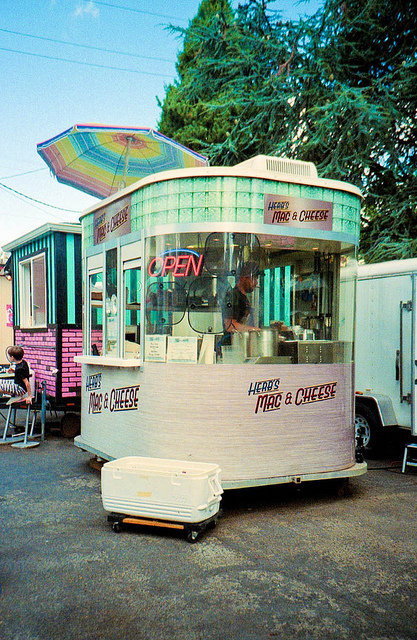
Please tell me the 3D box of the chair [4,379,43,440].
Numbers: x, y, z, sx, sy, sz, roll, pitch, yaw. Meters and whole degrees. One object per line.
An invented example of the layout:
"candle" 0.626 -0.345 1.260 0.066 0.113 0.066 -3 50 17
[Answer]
"chair" -2.695 1.316 9.161 0.670 0.867 0.741 6 -11 -32

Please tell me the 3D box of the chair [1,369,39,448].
"chair" -2.633 1.244 8.792 0.507 0.939 1.298 0 0 -16

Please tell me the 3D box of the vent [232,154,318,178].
"vent" 0.696 -1.336 5.542 0.641 0.193 0.309 1 0 -15

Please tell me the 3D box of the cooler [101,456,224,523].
"cooler" -0.341 1.224 4.653 0.846 0.314 0.412 -2 -4 22

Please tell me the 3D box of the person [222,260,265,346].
"person" 0.277 -0.129 5.283 0.410 0.708 0.159 0 0 -35
